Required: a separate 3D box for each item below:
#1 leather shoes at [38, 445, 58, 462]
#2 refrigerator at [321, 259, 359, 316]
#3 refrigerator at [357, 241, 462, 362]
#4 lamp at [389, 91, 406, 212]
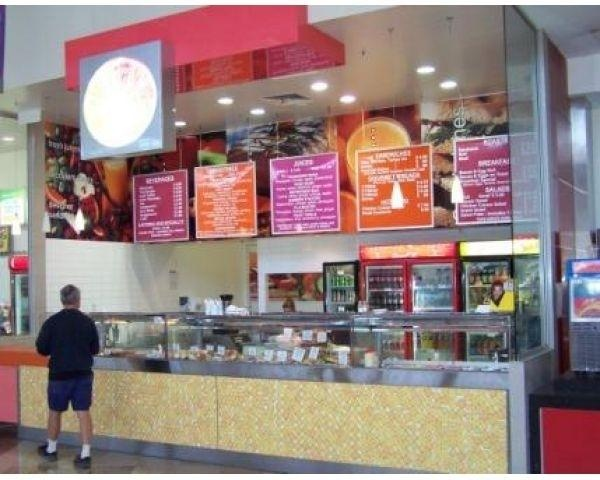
[{"bbox_3d":[-2.425,2.079,5.185,0.269,0.112,0.100,9,3,43],"label":"leather shoes"},{"bbox_3d":[0.606,0.683,7.805,0.225,0.728,0.634,2,-6,-43],"label":"refrigerator"},{"bbox_3d":[1.258,0.636,5.908,0.902,1.617,0.446,0,1,26],"label":"refrigerator"},{"bbox_3d":[1.237,-0.855,6.847,0.203,0.894,0.766,-2,-4,11],"label":"lamp"}]
